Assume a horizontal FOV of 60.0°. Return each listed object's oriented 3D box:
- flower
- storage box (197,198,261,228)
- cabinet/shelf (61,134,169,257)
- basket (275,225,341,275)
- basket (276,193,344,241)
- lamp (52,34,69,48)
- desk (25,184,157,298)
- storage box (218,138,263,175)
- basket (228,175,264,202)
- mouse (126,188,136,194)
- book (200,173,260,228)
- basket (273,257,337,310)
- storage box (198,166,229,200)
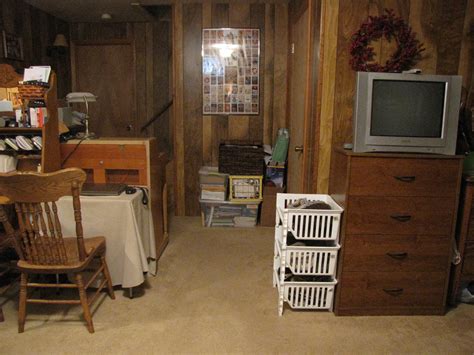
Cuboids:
[{"bbox_3d":[1.239,-1.156,3.464,0.549,0.514,0.133,-1,12,-2],"label":"flower"},{"bbox_3d":[-0.105,0.418,5.028,0.594,0.234,0.365,1,2,-2],"label":"storage box"},{"bbox_3d":[-1.081,0.153,3.536,1.248,1.069,0.641,-1,9,0],"label":"cabinet/shelf"},{"bbox_3d":[0.546,0.568,3.370,0.426,0.186,0.408,0,14,-1],"label":"basket"},{"bbox_3d":[0.566,0.317,3.278,0.423,0.236,0.406,1,9,0],"label":"basket"},{"bbox_3d":[-2.454,-1.907,5.726,0.206,0.182,0.193,-6,20,-20],"label":"lamp"},{"bbox_3d":[-1.132,0.469,3.595,0.907,0.660,0.880,-2,7,2],"label":"desk"},{"bbox_3d":[0.047,-0.263,4.977,0.444,0.260,0.437,0,11,0],"label":"storage box"},{"bbox_3d":[0.113,0.122,4.996,0.505,0.357,0.294,0,15,-1],"label":"basket"},{"bbox_3d":[-0.907,0.113,3.534,0.055,0.020,0.055,11,16,36],"label":"mouse"},{"bbox_3d":[-0.067,0.219,5.201,0.724,0.584,0.687,1,9,2],"label":"book"},{"bbox_3d":[0.551,0.895,3.359,0.412,0.234,0.325,1,7,0],"label":"basket"},{"bbox_3d":[-0.289,0.067,4.975,0.397,0.355,0.350,-1,5,-2],"label":"storage box"}]
